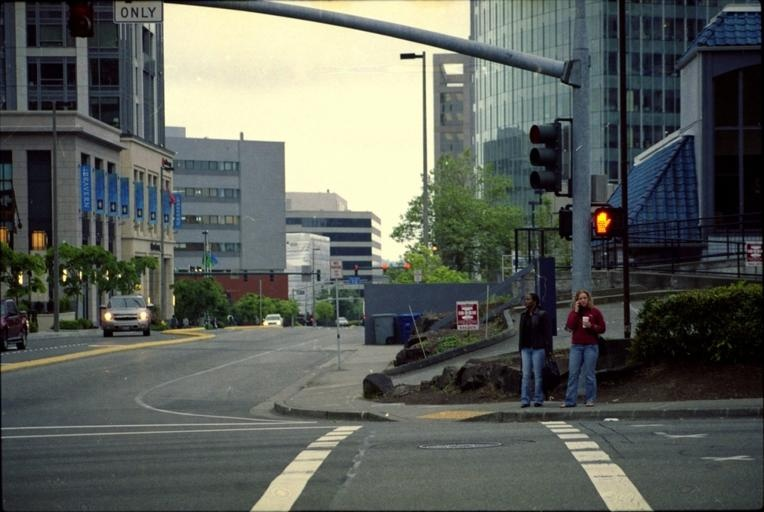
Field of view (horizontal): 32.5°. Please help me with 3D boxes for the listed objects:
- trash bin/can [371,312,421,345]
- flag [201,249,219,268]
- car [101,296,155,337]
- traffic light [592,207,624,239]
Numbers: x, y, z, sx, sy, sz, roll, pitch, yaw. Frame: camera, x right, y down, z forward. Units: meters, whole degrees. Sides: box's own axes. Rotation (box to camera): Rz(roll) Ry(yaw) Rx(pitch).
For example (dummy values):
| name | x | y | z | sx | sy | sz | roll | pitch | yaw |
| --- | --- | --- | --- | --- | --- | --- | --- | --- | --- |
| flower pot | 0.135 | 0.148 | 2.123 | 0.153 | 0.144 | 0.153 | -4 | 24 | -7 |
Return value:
| name | x | y | z | sx | sy | sz | roll | pitch | yaw |
| --- | --- | --- | --- | --- | --- | --- | --- | --- | --- |
| trash bin/can | 0.555 | 3.764 | 68.091 | 2.203 | 1.515 | 1.485 | -1 | -2 | 14 |
| flag | -20.464 | 0.321 | 154.602 | 2.191 | 0.751 | 3.223 | 25 | -16 | 1 |
| car | -14.673 | 3.278 | 75.100 | 2.671 | 2.311 | 5.242 | -1 | 1 | -10 |
| traffic light | 7.986 | -1.206 | 46.450 | 1.055 | 1.059 | 1.064 | 0 | -4 | -2 |
